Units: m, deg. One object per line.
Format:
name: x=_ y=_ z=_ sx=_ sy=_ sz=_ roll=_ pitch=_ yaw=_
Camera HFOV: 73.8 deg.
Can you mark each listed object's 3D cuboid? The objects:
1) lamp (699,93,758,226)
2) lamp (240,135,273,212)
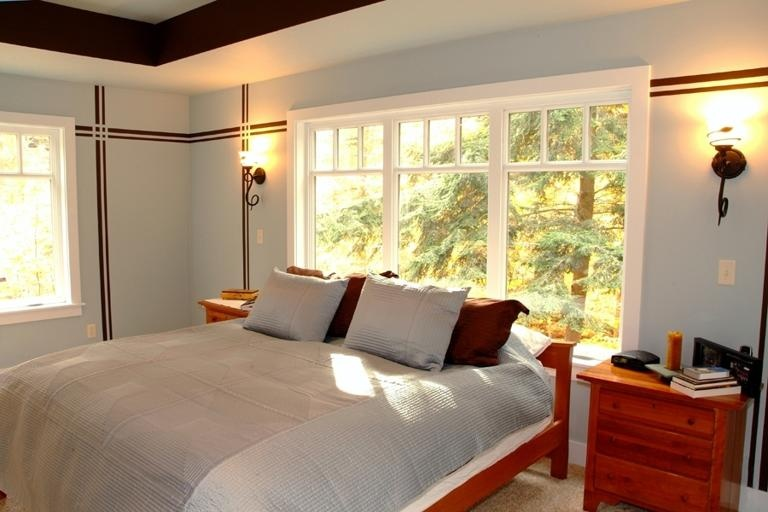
lamp: x=2.094 y=-0.594 z=3.161 sx=0.267 sy=0.798 sz=0.164 roll=7 pitch=9 yaw=32
lamp: x=-1.370 y=-0.779 z=5.190 sx=0.334 sy=0.587 sz=0.330 roll=2 pitch=3 yaw=27
